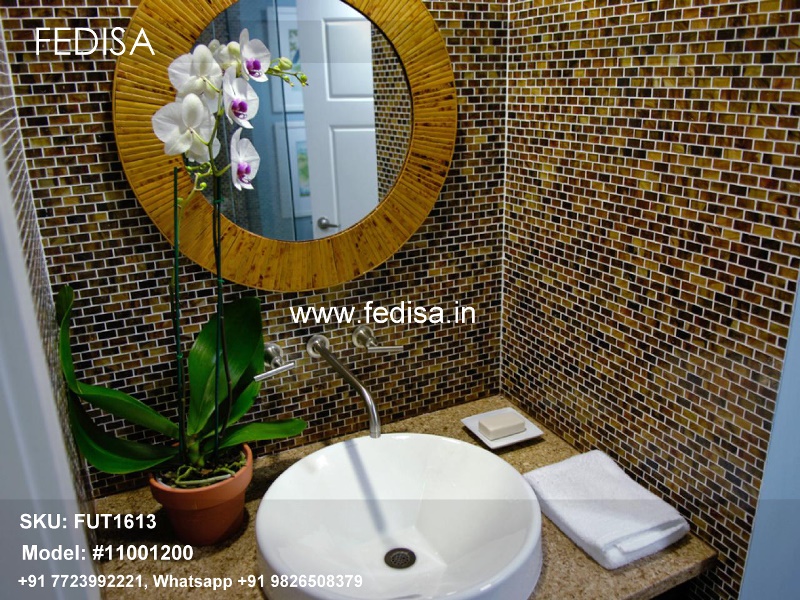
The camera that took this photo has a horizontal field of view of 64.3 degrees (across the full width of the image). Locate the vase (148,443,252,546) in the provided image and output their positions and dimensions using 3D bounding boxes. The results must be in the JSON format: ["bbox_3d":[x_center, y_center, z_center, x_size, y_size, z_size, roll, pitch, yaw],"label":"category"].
[{"bbox_3d":[-0.463,0.473,1.506,0.186,0.164,0.202,2,12,14],"label":"vase"}]

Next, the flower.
[{"bbox_3d":[-0.469,-0.044,1.429,0.611,1.035,0.369,-8,24,-18],"label":"flower"}]

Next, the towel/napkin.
[{"bbox_3d":[0.478,0.495,1.523,0.295,0.104,0.350,-10,21,-30],"label":"towel/napkin"}]
